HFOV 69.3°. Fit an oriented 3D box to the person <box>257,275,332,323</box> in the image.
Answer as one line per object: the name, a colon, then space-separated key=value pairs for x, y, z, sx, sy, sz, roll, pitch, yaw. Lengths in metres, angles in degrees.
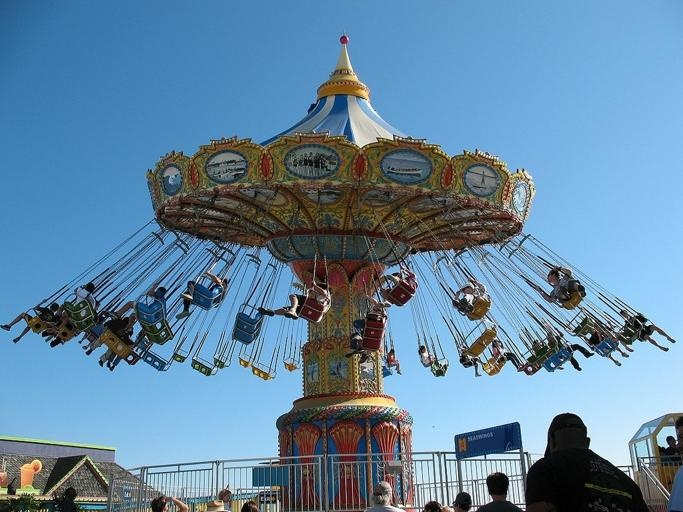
person: x=-0.947 y=0.962 z=11.428 sx=1.512 sy=1.192 sz=0.874 roll=20 pitch=-29 yaw=-19
